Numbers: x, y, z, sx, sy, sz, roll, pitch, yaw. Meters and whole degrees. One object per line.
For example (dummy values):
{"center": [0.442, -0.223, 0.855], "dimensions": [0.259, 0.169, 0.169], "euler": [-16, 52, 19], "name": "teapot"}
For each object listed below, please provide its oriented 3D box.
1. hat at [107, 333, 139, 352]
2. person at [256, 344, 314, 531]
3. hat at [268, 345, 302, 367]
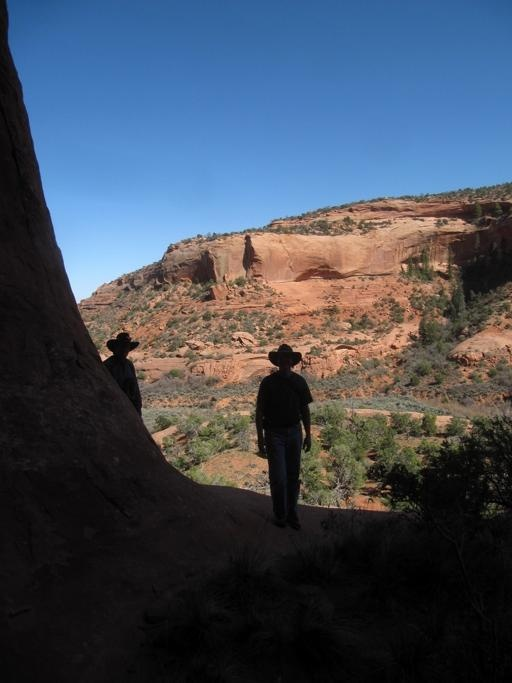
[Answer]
{"center": [-1.161, 0.016, 5.056], "dimensions": [0.216, 0.088, 0.234], "euler": [-1, -18, -1], "name": "hat"}
{"center": [0.220, 0.724, 4.391], "dimensions": [0.415, 1.320, 0.791], "euler": [-5, 6, 13], "name": "person"}
{"center": [0.235, 0.132, 4.672], "dimensions": [0.190, 0.075, 0.215], "euler": [2, -35, 0], "name": "hat"}
